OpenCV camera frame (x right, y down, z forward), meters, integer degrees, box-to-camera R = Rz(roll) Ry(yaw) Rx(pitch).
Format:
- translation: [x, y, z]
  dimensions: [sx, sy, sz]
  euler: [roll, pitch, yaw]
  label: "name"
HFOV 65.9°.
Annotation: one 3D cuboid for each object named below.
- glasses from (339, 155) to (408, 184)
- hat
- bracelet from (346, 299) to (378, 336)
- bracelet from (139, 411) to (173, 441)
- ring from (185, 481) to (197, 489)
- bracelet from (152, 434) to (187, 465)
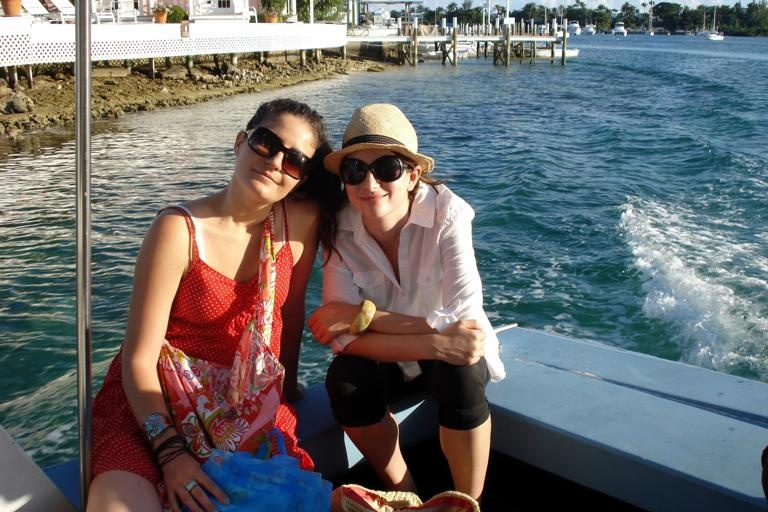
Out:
- translation: [-0.053, -0.429, 2.990]
  dimensions: [0.327, 0.155, 0.079]
  euler: [0, 14, -7]
  label: "glasses"
- translation: [-0.080, -0.622, 3.133]
  dimensions: [0.532, 0.275, 0.531]
  euler: [7, -7, -40]
  label: "hat"
- translation: [-0.100, 0.316, 3.022]
  dimensions: [0.050, 0.151, 0.122]
  euler: [35, 9, -1]
  label: "bracelet"
- translation: [-0.978, 0.734, 2.538]
  dimensions: [0.104, 0.091, 0.110]
  euler: [30, -36, -34]
  label: "bracelet"
- translation: [-0.777, 0.938, 2.400]
  dimensions: [0.034, 0.033, 0.034]
  euler: [-29, -13, -7]
  label: "ring"
- translation: [-0.898, 0.826, 2.512]
  dimensions: [0.129, 0.057, 0.121]
  euler: [-30, 2, 35]
  label: "bracelet"
